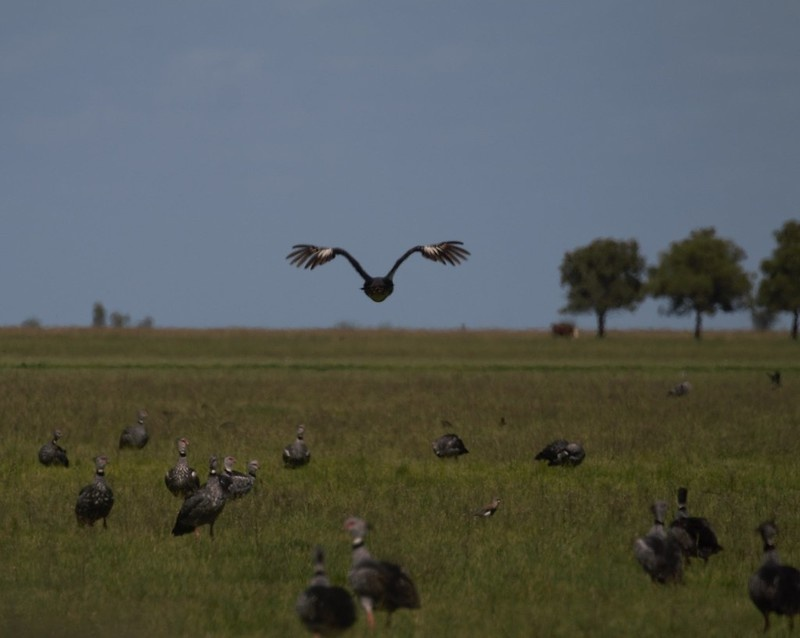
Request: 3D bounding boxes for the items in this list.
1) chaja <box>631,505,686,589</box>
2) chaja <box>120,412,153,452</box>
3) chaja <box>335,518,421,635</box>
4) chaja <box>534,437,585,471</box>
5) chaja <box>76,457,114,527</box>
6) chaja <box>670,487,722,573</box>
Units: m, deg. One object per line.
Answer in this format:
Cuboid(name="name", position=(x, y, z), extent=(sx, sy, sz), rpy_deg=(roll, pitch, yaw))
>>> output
Cuboid(name="chaja", position=(6.845, 6.066, 43.399), extent=(1.117, 1.775, 1.192), rpy_deg=(-23, -51, 15))
Cuboid(name="chaja", position=(-8.835, 3.855, 54.201), extent=(1.276, 1.427, 0.800), rpy_deg=(-10, -10, 42))
Cuboid(name="chaja", position=(-0.525, 6.764, 42.113), extent=(2.170, 3.192, 1.249), rpy_deg=(4, -5, 12))
Cuboid(name="chaja", position=(5.106, 4.152, 51.325), extent=(1.310, 0.855, 0.984), rpy_deg=(-2, -29, -12))
Cuboid(name="chaja", position=(-8.624, 5.014, 45.953), extent=(1.027, 2.033, 1.176), rpy_deg=(-5, 4, -35))
Cuboid(name="chaja", position=(7.925, 5.797, 44.237), extent=(0.971, 2.758, 2.386), rpy_deg=(-2, -86, -13))
